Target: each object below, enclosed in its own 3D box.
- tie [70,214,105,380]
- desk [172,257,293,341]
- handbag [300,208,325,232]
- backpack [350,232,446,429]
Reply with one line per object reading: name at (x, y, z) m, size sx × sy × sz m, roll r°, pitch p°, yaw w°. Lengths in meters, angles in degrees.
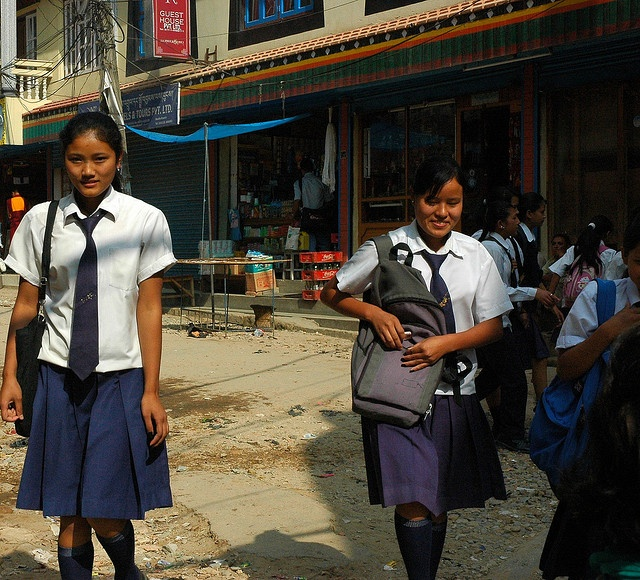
tie at (-0.866, 0.022, 2.841) m, size 0.100 × 0.578 × 0.165 m, roll 1°, pitch 4°, yaw -17°
desk at (-1.683, 0.206, 12.843) m, size 1.521 × 0.972 × 1.381 m, roll 4°, pitch 6°, yaw 32°
handbag at (-0.129, -1.191, 13.098) m, size 0.520 × 0.498 × 0.320 m, roll 0°, pitch 10°, yaw -16°
backpack at (0.288, 0.147, 3.019) m, size 0.404 × 0.716 × 0.338 m, roll 5°, pitch 5°, yaw 30°
